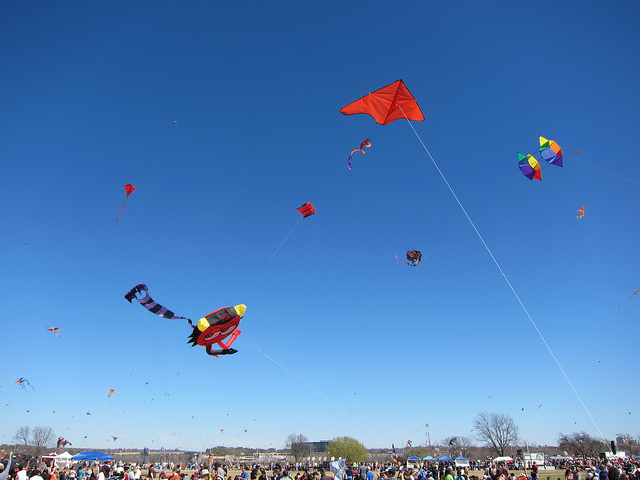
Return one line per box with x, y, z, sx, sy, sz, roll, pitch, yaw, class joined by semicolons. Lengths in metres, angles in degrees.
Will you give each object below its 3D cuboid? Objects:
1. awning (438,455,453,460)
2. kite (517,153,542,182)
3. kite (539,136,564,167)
11.784;20.434;49.075;0.725;0.354;0.794;8;-42;-3;awning
12.240;-4.095;30.224;0.947;1.547;1.192;-21;-37;31;kite
13.344;-5.272;29.883;1.168;1.196;1.024;8;-33;-12;kite
